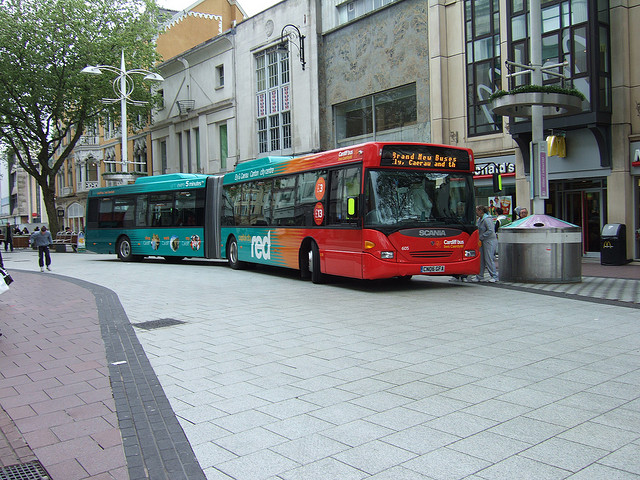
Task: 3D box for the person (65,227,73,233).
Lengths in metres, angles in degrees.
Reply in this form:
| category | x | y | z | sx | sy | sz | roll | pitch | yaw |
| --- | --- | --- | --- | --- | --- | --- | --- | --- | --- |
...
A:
| category | x | y | z | sx | sy | sz | roll | pitch | yaw |
| --- | --- | --- | --- | --- | --- | --- | --- | --- | --- |
| person | -24.542 | -1.007 | 51.423 | 0.571 | 0.553 | 1.990 | -2 | -2 | -28 |
